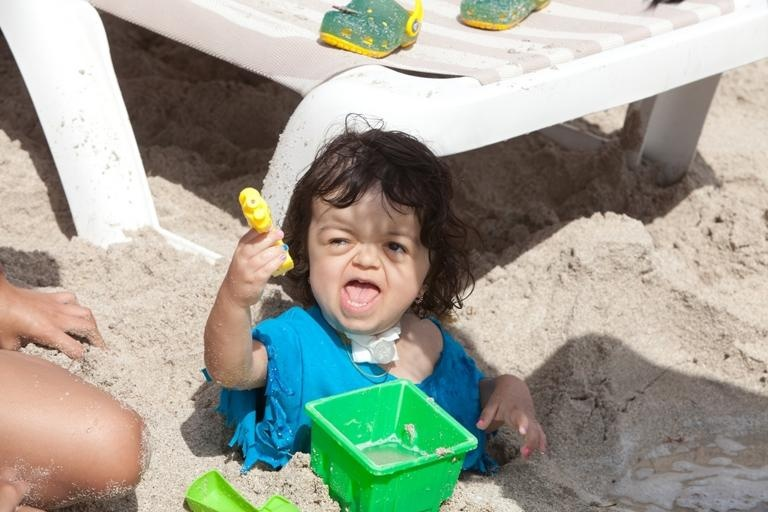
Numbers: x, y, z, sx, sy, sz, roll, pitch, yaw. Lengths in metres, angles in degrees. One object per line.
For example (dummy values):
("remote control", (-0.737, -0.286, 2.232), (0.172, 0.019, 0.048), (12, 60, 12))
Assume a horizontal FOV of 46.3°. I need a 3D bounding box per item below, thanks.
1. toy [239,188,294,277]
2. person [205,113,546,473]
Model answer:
("toy", (-0.376, -0.072, 2.890), (0.073, 0.295, 0.101), (-29, 18, -12))
("person", (-0.030, 0.167, 3.128), (1.078, 1.168, 0.614), (5, 4, -13))
